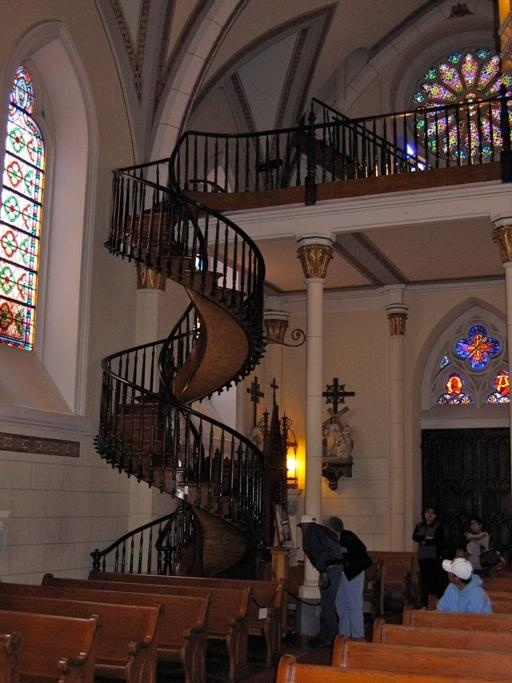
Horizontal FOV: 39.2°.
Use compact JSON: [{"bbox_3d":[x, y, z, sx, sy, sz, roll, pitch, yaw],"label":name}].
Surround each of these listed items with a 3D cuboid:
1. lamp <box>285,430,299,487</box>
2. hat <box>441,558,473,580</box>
[{"bbox_3d":[0.658,2.249,13.232,0.171,0.842,0.518,-2,-10,8],"label":"lamp"},{"bbox_3d":[1.364,1.533,4.911,0.192,0.134,0.109,17,-43,30],"label":"hat"}]
